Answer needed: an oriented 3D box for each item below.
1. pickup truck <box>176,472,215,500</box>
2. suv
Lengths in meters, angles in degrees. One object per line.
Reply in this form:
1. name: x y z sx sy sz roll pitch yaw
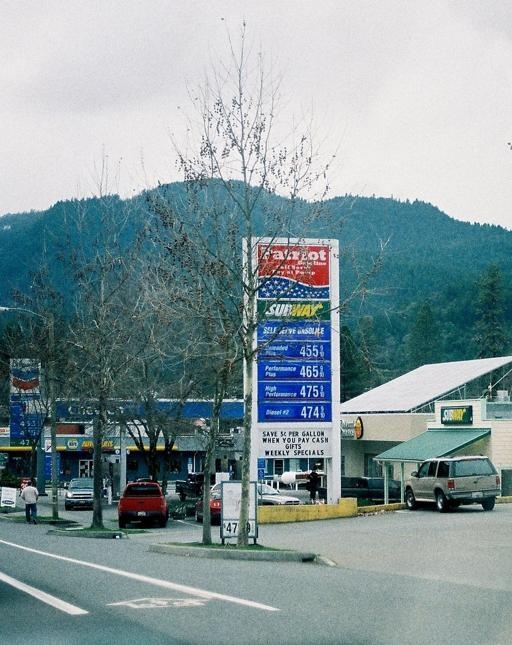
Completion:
1. pickup truck: -2.757 7.237 54.382 1.198 1.357 2.448 0 -1 -9
2. suv: 5.203 4.711 36.500 1.601 1.555 4.153 4 -12 -33
